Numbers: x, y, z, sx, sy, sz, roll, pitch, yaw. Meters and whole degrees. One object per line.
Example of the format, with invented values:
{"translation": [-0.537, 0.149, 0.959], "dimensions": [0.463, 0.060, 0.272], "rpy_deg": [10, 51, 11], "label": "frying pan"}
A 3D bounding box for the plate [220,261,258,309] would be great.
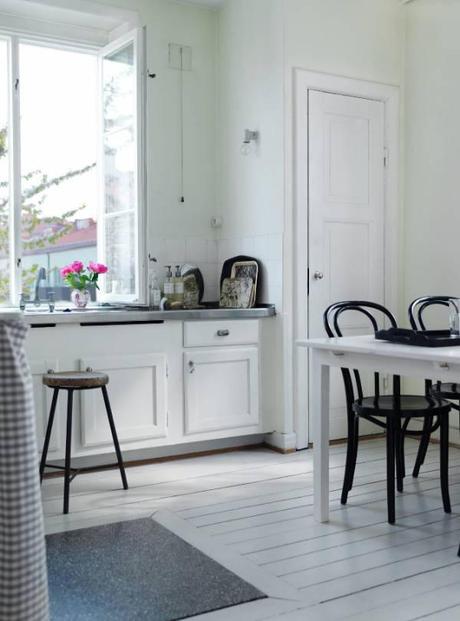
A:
{"translation": [0.070, -0.192, 3.690], "dimensions": [0.072, 0.332, 0.270], "rpy_deg": [11, -8, -42], "label": "plate"}

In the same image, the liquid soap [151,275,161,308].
{"translation": [-0.510, -0.137, 3.697], "dimensions": [0.075, 0.224, 0.240], "rpy_deg": [0, -2, -7], "label": "liquid soap"}

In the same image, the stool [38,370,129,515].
{"translation": [-0.713, 0.605, 2.682], "dimensions": [0.440, 0.603, 0.590], "rpy_deg": [0, -2, -18], "label": "stool"}

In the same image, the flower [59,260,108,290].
{"translation": [-0.941, -0.216, 3.508], "dimensions": [0.222, 0.180, 0.222], "rpy_deg": [1, 0, -42], "label": "flower"}

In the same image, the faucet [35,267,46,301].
{"translation": [-1.215, -0.165, 3.451], "dimensions": [0.068, 0.251, 0.304], "rpy_deg": [0, -2, -19], "label": "faucet"}

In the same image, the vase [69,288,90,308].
{"translation": [-0.990, -0.087, 3.592], "dimensions": [0.108, 0.131, 0.112], "rpy_deg": [7, 10, 27], "label": "vase"}

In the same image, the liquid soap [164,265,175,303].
{"translation": [-0.423, -0.158, 3.722], "dimensions": [0.071, 0.226, 0.094], "rpy_deg": [0, -2, -7], "label": "liquid soap"}

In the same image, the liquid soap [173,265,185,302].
{"translation": [-0.362, -0.180, 3.785], "dimensions": [0.072, 0.291, 0.216], "rpy_deg": [0, -2, -6], "label": "liquid soap"}
